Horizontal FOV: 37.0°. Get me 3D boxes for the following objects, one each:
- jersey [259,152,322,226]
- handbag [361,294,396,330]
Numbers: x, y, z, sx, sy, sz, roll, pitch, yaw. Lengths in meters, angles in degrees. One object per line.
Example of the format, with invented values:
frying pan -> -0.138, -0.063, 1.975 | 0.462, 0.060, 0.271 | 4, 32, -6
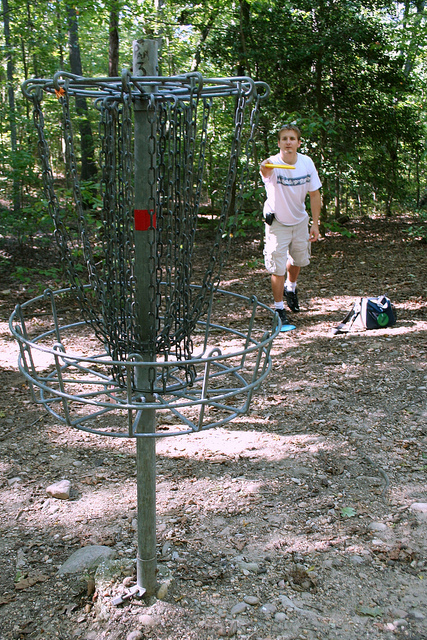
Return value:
jersey -> 0.578, -1.027, 5.038 | 0.577, 0.557, 0.224 | -8, 17, -37
handbag -> 1.312, -0.086, 5.137 | 0.304, 0.258, 0.225 | -5, -23, 6
